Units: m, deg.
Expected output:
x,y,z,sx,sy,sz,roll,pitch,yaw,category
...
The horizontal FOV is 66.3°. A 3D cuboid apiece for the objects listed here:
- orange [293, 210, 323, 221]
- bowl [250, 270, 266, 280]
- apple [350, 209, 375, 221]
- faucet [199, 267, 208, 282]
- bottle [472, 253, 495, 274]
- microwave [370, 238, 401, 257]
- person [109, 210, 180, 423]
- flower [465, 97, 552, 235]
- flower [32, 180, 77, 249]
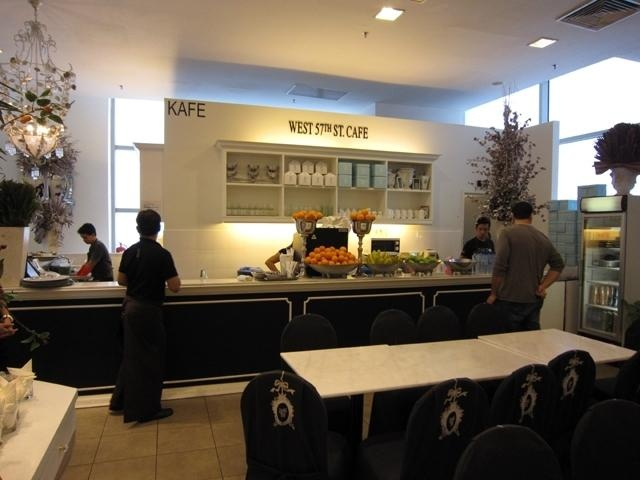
x,y,z,sx,sy,sz,roll,pitch,yaw,category
-0.143,-0.269,5.481,0.206,0.112,0.257,-15,19,-42,orange
-0.695,0.389,5.516,0.109,0.079,0.262,-11,16,-32,bowl
0.480,-0.283,5.720,0.217,0.087,0.223,0,0,-11,apple
-1.241,0.376,5.219,0.065,0.184,0.246,-6,14,-16,faucet
2.102,0.302,6.272,0.254,0.257,0.142,0,1,0,bottle
1.076,0.075,8.043,0.439,0.243,0.600,1,14,12,microwave
-1.727,0.739,4.733,0.763,1.970,0.521,-12,17,-37,person
2.530,-1.276,6.503,0.657,0.896,0.634,-23,6,-11,flower
-4.987,-0.607,9.146,0.725,1.297,0.796,6,12,-27,flower
